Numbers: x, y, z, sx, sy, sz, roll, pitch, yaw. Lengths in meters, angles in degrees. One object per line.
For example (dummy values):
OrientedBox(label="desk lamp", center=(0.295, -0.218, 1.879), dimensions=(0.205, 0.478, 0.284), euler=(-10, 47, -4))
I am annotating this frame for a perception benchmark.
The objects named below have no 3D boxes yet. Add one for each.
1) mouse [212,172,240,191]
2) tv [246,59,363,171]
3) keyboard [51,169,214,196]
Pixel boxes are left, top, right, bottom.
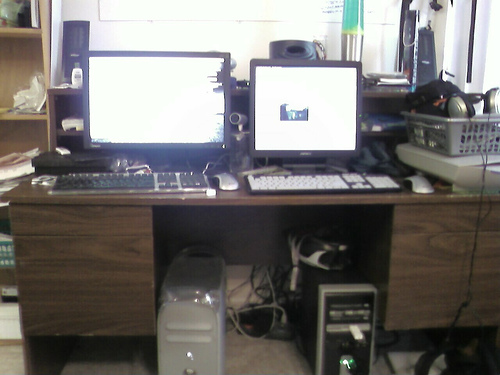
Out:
OrientedBox(label="mouse", center=(-0.114, -0.031, 2.245), dimensions=(0.125, 0.053, 0.136), euler=(-2, 16, -5))
OrientedBox(label="tv", center=(0.267, -0.382, 2.423), dimensions=(0.525, 0.521, 0.193), euler=(0, 2, -5))
OrientedBox(label="keyboard", center=(-0.529, -0.028, 2.222), dimensions=(0.709, 0.054, 0.299), euler=(-2, 16, -6))
